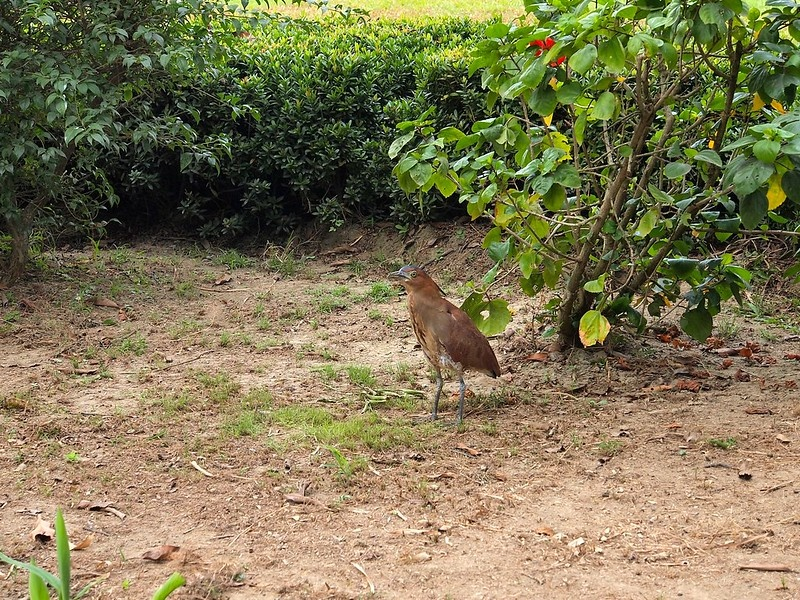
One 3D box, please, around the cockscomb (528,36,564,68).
[{"bbox_3d":[1.098,-1.821,6.198,0.247,0.207,0.301,-3,14,-3],"label":"cockscomb"}]
